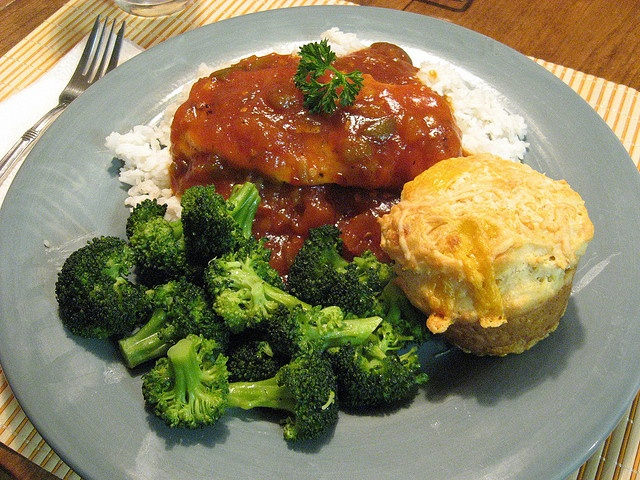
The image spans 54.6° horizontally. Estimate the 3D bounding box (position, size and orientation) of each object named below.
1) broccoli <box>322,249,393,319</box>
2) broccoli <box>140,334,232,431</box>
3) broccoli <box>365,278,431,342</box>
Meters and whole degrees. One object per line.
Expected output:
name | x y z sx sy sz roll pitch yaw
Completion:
broccoli | 0.226 0.263 3.740 0.312 0.209 0.376 -5 21 -19
broccoli | -0.721 0.803 3.370 0.439 0.234 0.473 4 51 -3
broccoli | 0.487 0.452 3.791 0.129 0.369 0.362 -31 53 15
